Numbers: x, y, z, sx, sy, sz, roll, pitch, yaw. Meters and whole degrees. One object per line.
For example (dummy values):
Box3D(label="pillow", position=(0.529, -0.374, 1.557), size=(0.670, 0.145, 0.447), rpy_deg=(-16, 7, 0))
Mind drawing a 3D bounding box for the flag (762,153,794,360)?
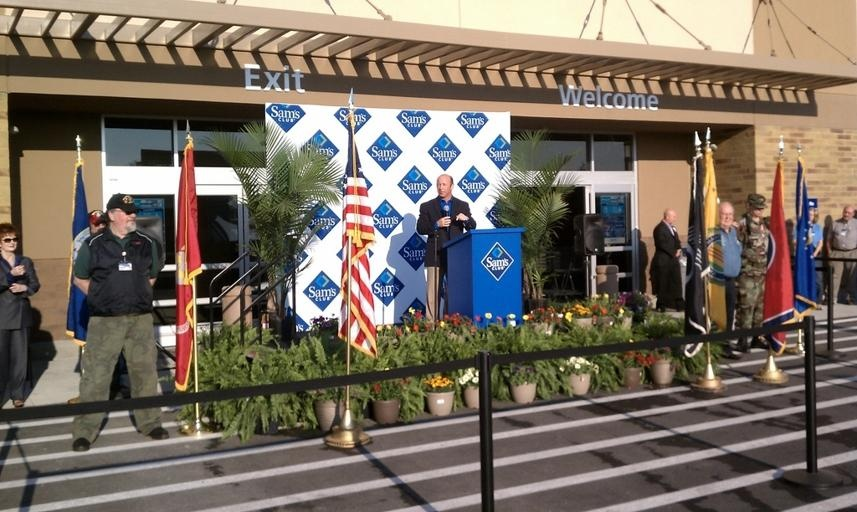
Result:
Box3D(label="flag", position=(6.182, -0.219, 15.143), size=(0.499, 3.360, 0.487), rpy_deg=(-3, -1, 28))

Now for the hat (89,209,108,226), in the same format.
Box3D(label="hat", position=(-5.767, -0.638, 14.794), size=(0.284, 0.204, 0.429), rpy_deg=(2, 2, -31))

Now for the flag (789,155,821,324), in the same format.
Box3D(label="flag", position=(7.090, -0.294, 16.075), size=(0.383, 3.092, 1.035), rpy_deg=(-2, -1, 25))

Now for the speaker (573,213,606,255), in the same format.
Box3D(label="speaker", position=(3.468, -0.431, 18.314), size=(0.610, 0.807, 0.306), rpy_deg=(-2, -1, 5))

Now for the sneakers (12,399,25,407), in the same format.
Box3D(label="sneakers", position=(-6.794, 2.452, 14.086), size=(0.129, 0.078, 0.227), rpy_deg=(0, 2, -40))

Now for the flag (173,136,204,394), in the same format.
Box3D(label="flag", position=(-3.809, 0.106, 13.293), size=(0.408, 2.839, 0.479), rpy_deg=(-2, -1, -19))

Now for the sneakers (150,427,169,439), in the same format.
Box3D(label="sneakers", position=(-4.139, 2.727, 13.012), size=(0.295, 0.127, 0.146), rpy_deg=(-1, 5, -34))

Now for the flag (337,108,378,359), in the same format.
Box3D(label="flag", position=(-1.131, -0.328, 13.132), size=(0.580, 3.016, 0.422), rpy_deg=(-2, -1, -10))

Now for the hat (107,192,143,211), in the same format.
Box3D(label="hat", position=(-4.703, -0.796, 13.141), size=(0.449, 0.266, 0.298), rpy_deg=(-4, 3, -7))

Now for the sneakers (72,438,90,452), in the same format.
Box3D(label="sneakers", position=(-5.206, 2.827, 12.667), size=(0.206, 0.157, 0.203), rpy_deg=(2, 4, -5))
